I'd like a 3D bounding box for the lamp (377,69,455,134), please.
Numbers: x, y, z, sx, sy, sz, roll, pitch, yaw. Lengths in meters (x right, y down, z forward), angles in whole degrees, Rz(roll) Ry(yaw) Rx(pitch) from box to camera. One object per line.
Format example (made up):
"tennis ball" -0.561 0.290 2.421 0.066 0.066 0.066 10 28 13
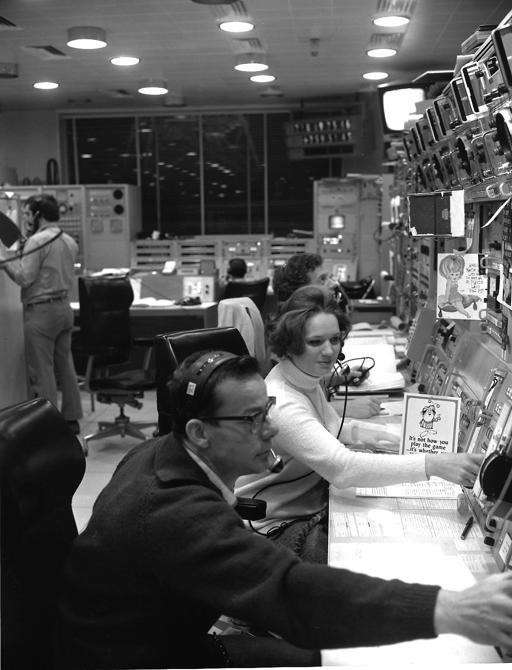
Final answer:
"lamp" 1.571 -2.440 5.718 0.298 0.540 1.118 5 9 -16

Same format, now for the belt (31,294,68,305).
"belt" -1.682 -0.285 4.546 0.325 0.103 0.113 -1 12 -44

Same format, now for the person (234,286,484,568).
"person" 0.192 0.313 1.761 0.294 0.876 0.615 17 -22 -27

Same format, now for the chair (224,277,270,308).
"chair" -0.073 -0.527 6.491 0.409 0.518 0.459 -5 18 -24

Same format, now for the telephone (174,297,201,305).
"telephone" -0.723 -0.360 5.947 0.200 0.065 0.116 0 3 1
